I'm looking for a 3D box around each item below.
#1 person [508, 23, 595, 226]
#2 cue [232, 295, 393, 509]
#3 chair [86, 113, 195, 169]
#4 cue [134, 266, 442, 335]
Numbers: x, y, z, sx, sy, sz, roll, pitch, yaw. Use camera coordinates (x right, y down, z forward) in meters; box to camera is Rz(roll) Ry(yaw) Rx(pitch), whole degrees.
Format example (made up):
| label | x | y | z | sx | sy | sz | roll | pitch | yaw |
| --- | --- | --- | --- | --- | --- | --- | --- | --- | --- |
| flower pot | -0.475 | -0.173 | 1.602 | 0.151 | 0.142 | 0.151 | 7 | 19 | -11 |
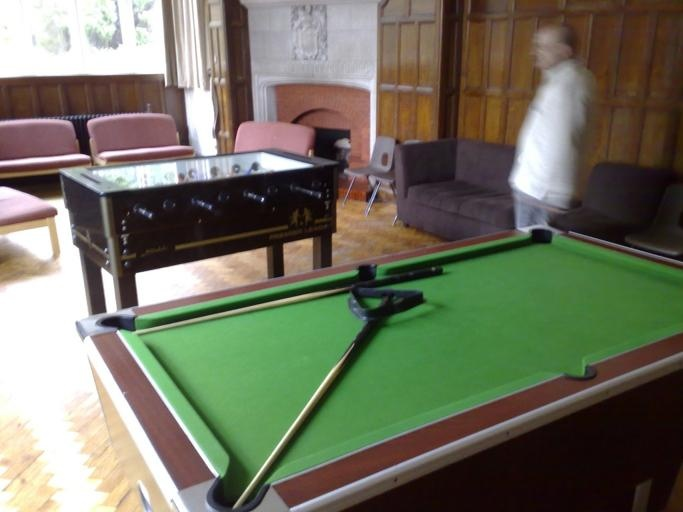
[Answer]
| label | x | y | z | sx | sy | sz | roll | pitch | yaw |
| --- | --- | --- | --- | --- | --- | --- | --- | --- | --- |
| person | 1.337 | -0.773 | 3.409 | 0.439 | 1.308 | 0.319 | 8 | 22 | 20 |
| cue | -0.034 | 0.367 | 1.472 | 0.115 | 0.038 | 0.818 | 5 | 38 | 29 |
| chair | -2.532 | -1.417 | 6.500 | 1.331 | 0.687 | 0.695 | -14 | 31 | -30 |
| cue | -0.212 | 0.176 | 2.056 | 1.012 | 0.042 | 0.085 | -12 | 37 | -24 |
